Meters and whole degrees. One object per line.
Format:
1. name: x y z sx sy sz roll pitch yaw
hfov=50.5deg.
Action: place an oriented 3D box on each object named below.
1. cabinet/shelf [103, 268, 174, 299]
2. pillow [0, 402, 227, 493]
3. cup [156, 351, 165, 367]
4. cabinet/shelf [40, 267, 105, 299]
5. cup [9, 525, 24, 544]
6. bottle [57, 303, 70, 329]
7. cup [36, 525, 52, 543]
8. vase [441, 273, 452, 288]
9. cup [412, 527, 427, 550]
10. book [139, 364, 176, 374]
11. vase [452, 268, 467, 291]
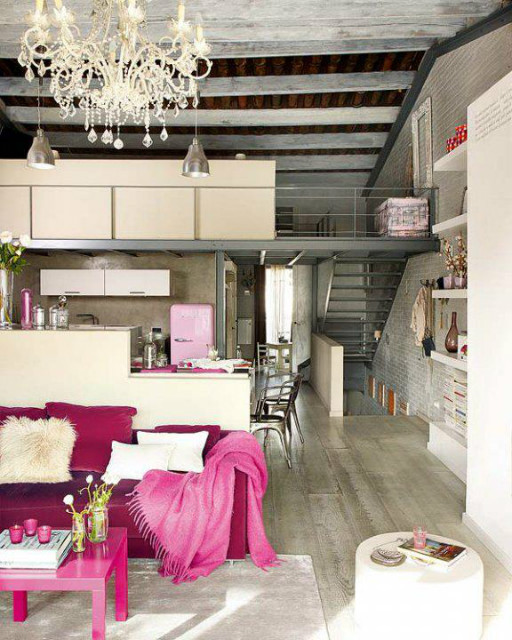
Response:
1. cabinet/shelf: -1.698 -0.543 7.729 0.921 0.358 0.139 0 1 7
2. pillow: -1.124 0.774 3.553 1.468 0.430 0.551 0 -8 -10
3. cup: -0.909 0.384 5.087 0.072 0.128 0.127 1 6 -3
4. cabinet/shelf: -2.616 -0.546 7.780 0.933 0.359 0.161 0 1 5
5. cup: -1.163 1.032 2.615 0.068 0.080 0.084 0 -5 4
6. bottle: -1.592 -0.022 4.472 0.078 0.179 0.164 0 1 -27
7. cup: -1.000 1.018 2.566 0.076 0.079 0.071 2 0 0
8. vase: 1.810 -0.362 5.124 0.063 0.139 0.330 1 1 16
9. cup: 0.808 1.080 2.680 0.077 0.085 0.077 1 -1 0
10. book: -0.846 0.434 4.717 0.312 0.061 0.803 0 1 -8
11. vase: 1.847 -0.378 4.912 0.105 0.178 0.189 1 1 16
